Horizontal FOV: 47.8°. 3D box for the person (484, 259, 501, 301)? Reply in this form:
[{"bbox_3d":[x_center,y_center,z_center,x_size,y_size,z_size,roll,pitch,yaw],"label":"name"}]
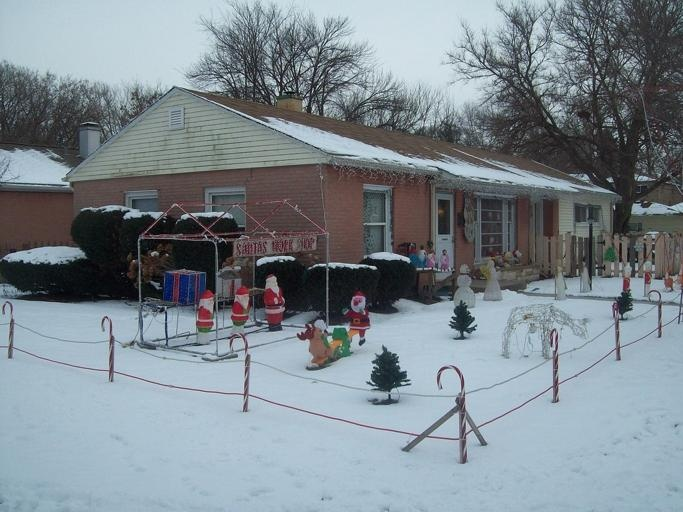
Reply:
[{"bbox_3d":[3.960,0.587,20.121,0.450,0.975,1.783,-1,0,11],"label":"person"}]

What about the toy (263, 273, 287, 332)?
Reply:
[{"bbox_3d":[-1.358,0.936,15.558,0.367,0.968,0.634,-1,0,-6],"label":"toy"}]

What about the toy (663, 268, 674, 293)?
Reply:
[{"bbox_3d":[8.580,0.648,20.134,0.211,0.575,0.915,-1,0,23],"label":"toy"}]

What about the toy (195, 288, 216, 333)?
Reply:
[{"bbox_3d":[-2.550,1.025,14.426,0.273,0.664,0.356,-1,0,-20],"label":"toy"}]

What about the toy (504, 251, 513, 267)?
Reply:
[{"bbox_3d":[5.149,0.070,23.624,0.266,0.433,1.370,-1,0,12],"label":"toy"}]

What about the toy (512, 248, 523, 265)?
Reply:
[{"bbox_3d":[5.631,0.021,24.499,0.309,0.523,0.480,1,4,2],"label":"toy"}]
